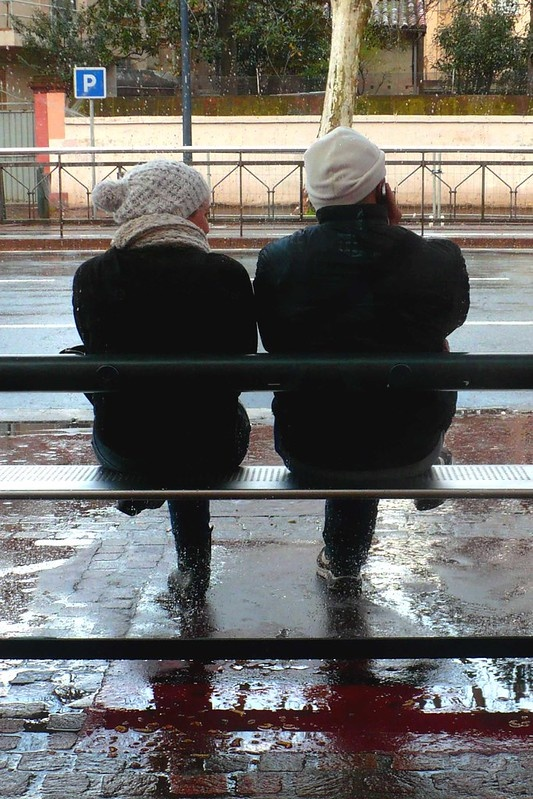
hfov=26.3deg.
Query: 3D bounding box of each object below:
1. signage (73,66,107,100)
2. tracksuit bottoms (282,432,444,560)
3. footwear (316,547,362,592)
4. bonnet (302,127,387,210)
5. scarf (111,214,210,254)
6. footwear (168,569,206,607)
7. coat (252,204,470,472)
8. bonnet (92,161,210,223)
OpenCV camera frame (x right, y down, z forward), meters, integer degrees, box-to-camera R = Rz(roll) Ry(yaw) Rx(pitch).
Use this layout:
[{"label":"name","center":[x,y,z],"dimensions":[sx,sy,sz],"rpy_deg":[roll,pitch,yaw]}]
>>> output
[{"label":"signage","center":[-2.681,-4.786,17.280],"dimensions":[0.428,0.461,0.706],"rpy_deg":[-4,14,-13]},{"label":"tracksuit bottoms","center":[0.206,0.278,3.393],"dimensions":[0.261,0.379,0.393],"rpy_deg":[-21,3,-25]},{"label":"footwear","center":[0.221,0.514,3.521],"dimensions":[0.073,0.085,0.177],"rpy_deg":[-2,18,-10]},{"label":"bonnet","center":[0.201,-0.573,2.837],"dimensions":[0.168,0.223,0.190],"rpy_deg":[0,-35,11]},{"label":"scarf","center":[-0.266,-0.416,2.850],"dimensions":[0.147,0.070,0.132],"rpy_deg":[-2,5,-14]},{"label":"footwear","center":[-0.234,0.568,3.439],"dimensions":[0.112,0.089,0.044],"rpy_deg":[17,-24,14]},{"label":"coat","center":[0.262,-0.126,3.049],"dimensions":[0.559,0.744,0.542],"rpy_deg":[-1,-10,11]},{"label":"bonnet","center":[-0.311,-0.555,3.042],"dimensions":[0.257,0.151,0.204],"rpy_deg":[-10,-4,8]}]
